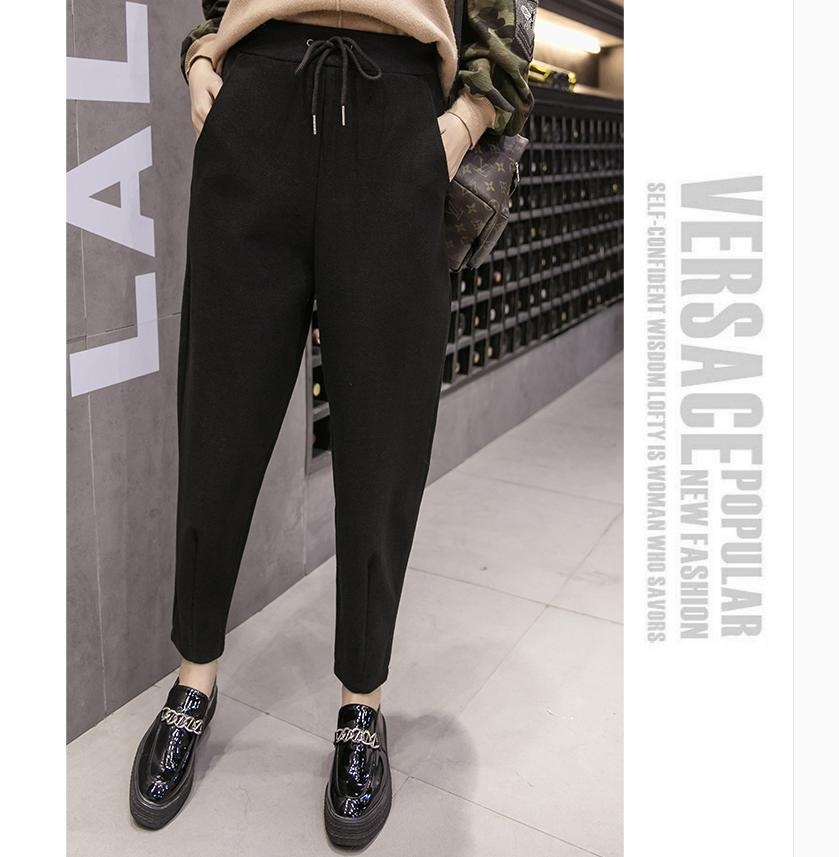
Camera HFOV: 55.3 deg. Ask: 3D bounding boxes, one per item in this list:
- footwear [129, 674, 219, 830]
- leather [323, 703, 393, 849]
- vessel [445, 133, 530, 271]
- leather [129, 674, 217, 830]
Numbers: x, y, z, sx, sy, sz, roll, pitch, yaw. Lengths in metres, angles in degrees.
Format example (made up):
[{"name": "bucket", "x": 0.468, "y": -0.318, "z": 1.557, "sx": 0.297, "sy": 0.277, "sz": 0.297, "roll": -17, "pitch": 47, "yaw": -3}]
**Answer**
[{"name": "footwear", "x": -0.359, "y": 0.459, "z": 1.185, "sx": 0.058, "sy": 0.093, "sz": 0.216, "roll": 12, "pitch": 26, "yaw": -8}, {"name": "leather", "x": -0.080, "y": 0.498, "z": 1.123, "sx": 0.061, "sy": 0.112, "sz": 0.197, "roll": 1, "pitch": -4, "yaw": 2}, {"name": "vessel", "x": 0.084, "y": -0.365, "z": 1.134, "sx": 0.092, "sy": 0.173, "sz": 0.077, "roll": 11, "pitch": 3, "yaw": 15}, {"name": "leather", "x": -0.359, "y": 0.460, "z": 1.187, "sx": 0.058, "sy": 0.093, "sz": 0.215, "roll": 12, "pitch": 26, "yaw": -8}]
